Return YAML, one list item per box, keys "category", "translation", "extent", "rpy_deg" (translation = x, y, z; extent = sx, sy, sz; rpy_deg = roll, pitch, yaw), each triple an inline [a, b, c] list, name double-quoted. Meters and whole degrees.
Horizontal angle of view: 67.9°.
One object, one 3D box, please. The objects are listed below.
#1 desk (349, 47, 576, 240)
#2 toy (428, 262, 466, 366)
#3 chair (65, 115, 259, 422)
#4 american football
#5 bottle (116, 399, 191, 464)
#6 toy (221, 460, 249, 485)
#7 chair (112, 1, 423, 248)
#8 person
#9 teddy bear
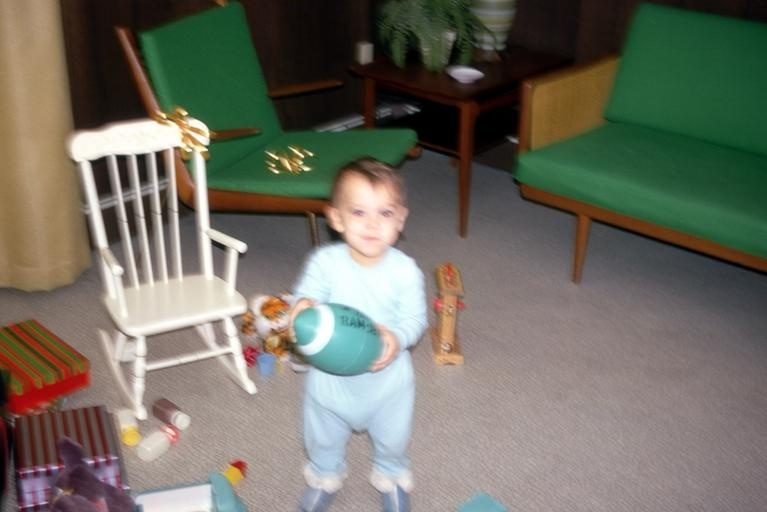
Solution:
- category: "desk"
  translation: [0.557, -0.897, 3.808]
  extent: [1.343, 0.992, 1.166]
  rpy_deg: [22, 38, 32]
- category: "toy"
  translation: [0.303, 0.298, 2.723]
  extent: [0.180, 0.403, 0.352]
  rpy_deg: [-2, 23, -2]
- category: "chair"
  translation: [-1.010, -0.058, 2.532]
  extent: [0.721, 1.133, 1.020]
  rpy_deg: [-13, 35, -15]
- category: "american football"
  translation: [-0.122, 0.264, 1.721]
  extent: [0.177, 0.261, 0.152]
  rpy_deg: [-23, 57, 27]
- category: "bottle"
  translation: [-0.954, 0.698, 2.322]
  extent: [0.228, 0.066, 0.224]
  rpy_deg: [3, 31, -2]
- category: "toy"
  translation: [-0.568, 0.832, 2.183]
  extent: [0.067, 0.080, 0.088]
  rpy_deg: [8, 25, 11]
- category: "chair"
  translation: [-0.824, -0.702, 3.278]
  extent: [1.557, 1.221, 1.190]
  rpy_deg: [21, 41, 20]
- category: "person"
  translation: [-0.096, 0.317, 1.938]
  extent: [0.481, 1.199, 0.538]
  rpy_deg: [-1, 34, 3]
- category: "teddy bear"
  translation: [-0.358, 0.226, 1.801]
  extent: [0.193, 0.228, 0.173]
  rpy_deg: [-14, 20, -31]
